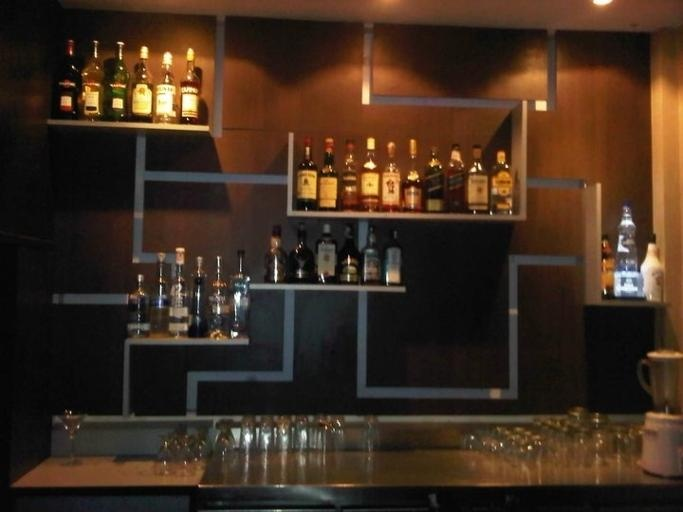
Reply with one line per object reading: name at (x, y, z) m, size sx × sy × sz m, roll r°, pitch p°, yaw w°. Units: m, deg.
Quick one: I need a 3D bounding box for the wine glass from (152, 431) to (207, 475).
wine glass at (-0.834, 1.014, 4.070) m, size 0.213 × 0.226 × 0.151 m, roll 2°, pitch -9°, yaw 0°

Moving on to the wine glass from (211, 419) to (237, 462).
wine glass at (-0.618, 0.983, 4.227) m, size 0.121 × 0.211 × 0.141 m, roll 1°, pitch -2°, yaw 9°

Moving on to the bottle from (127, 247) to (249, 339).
bottle at (-0.839, 0.221, 4.273) m, size 0.429 × 0.405 × 0.103 m, roll 2°, pitch -12°, yaw -10°
